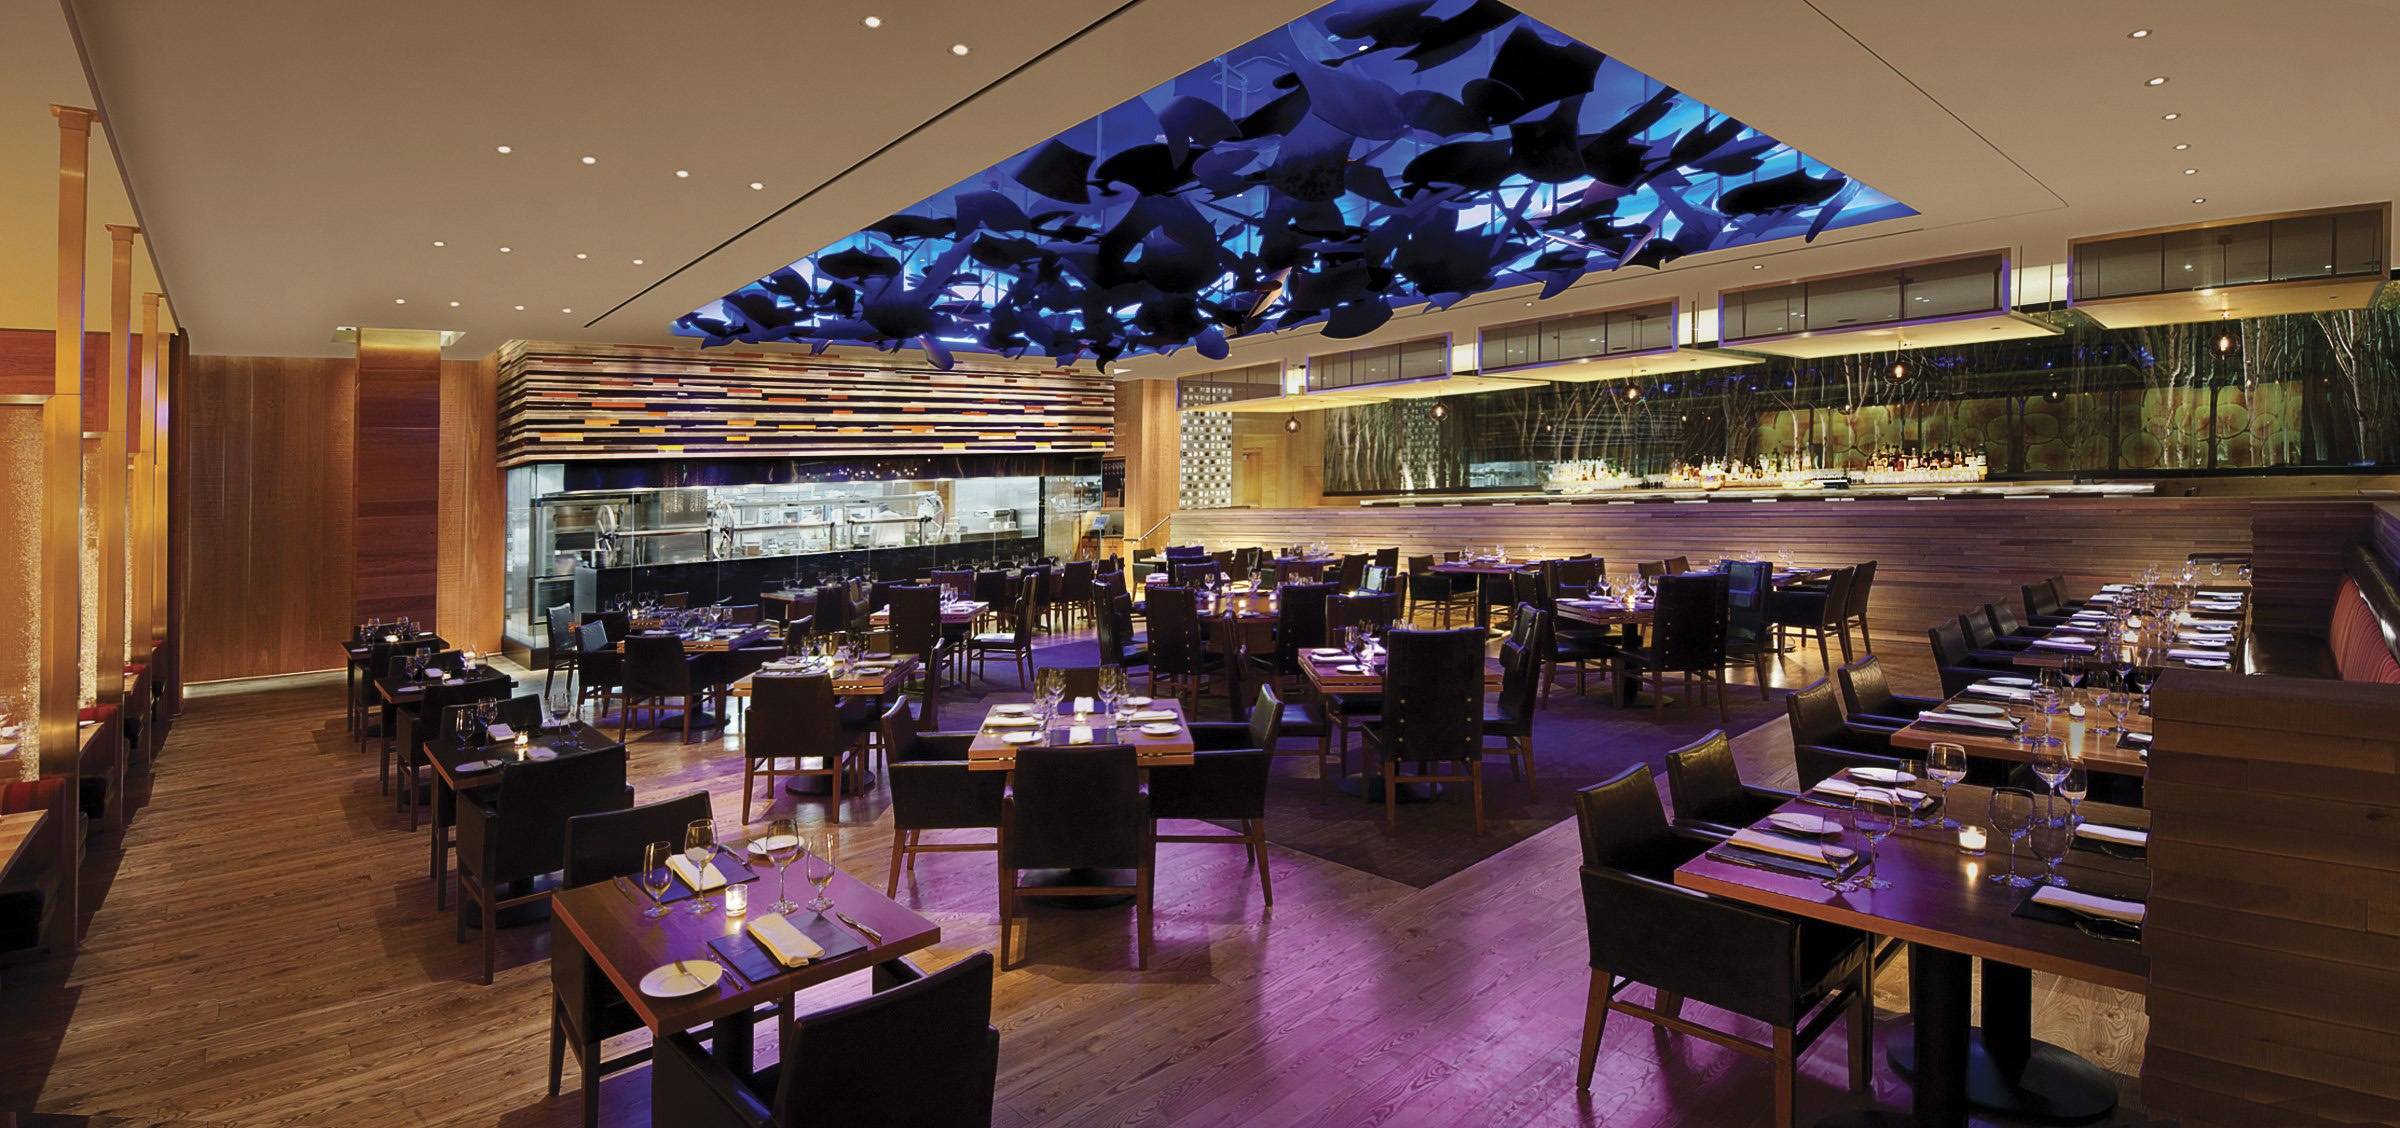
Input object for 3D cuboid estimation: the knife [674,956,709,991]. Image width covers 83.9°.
[{"bbox_3d":[-3.729,3.036,9.884,0.244,0.037,0.173,19,11,28],"label":"knife"}]
